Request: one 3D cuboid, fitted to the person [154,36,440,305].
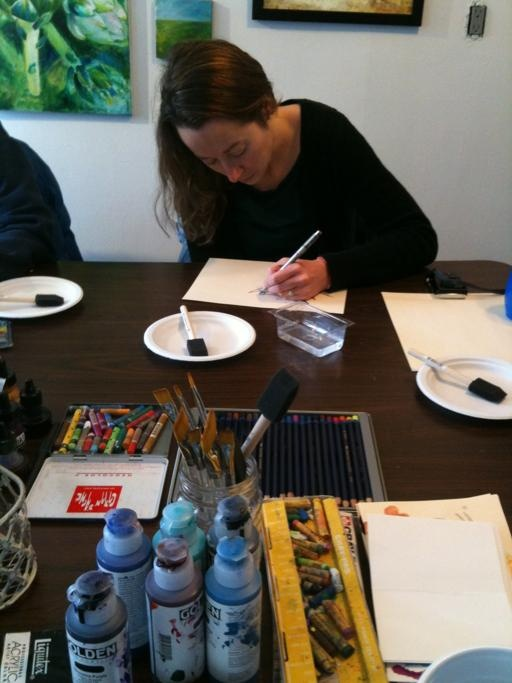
[{"bbox_3d":[0.042,-0.485,1.471,0.745,0.681,0.446,-2,43,24],"label":"person"}]

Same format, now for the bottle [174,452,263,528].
[{"bbox_3d":[-0.034,0.133,0.488,0.067,0.062,0.065,1,43,0],"label":"bottle"}]

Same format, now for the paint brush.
[{"bbox_3d":[-0.070,0.102,0.614,0.038,0.133,0.077,-23,33,11],"label":"paint brush"}]

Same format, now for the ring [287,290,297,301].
[{"bbox_3d":[0.074,-0.101,1.213,0.019,0.017,0.005,2,-8,15],"label":"ring"}]
